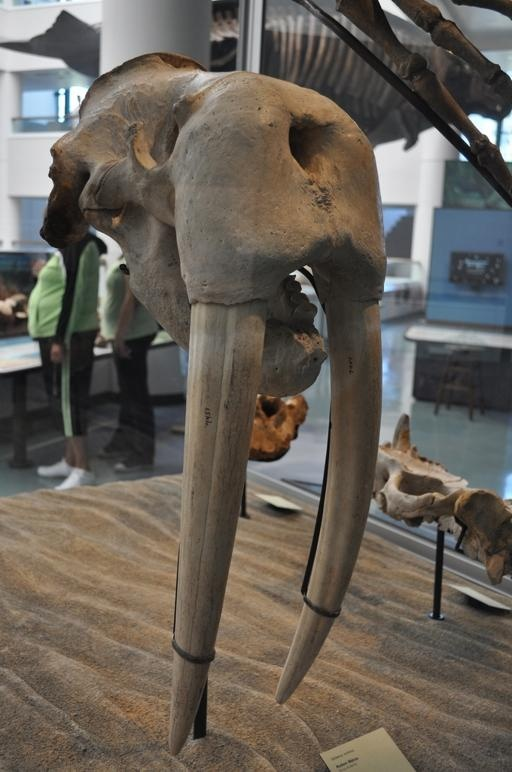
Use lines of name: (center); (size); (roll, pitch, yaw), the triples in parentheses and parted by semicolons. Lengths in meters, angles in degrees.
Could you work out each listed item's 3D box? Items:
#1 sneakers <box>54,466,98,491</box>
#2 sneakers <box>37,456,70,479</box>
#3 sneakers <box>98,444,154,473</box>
sneakers: (-0.749, 0.390, 3.060); (0.055, 0.061, 0.162); (3, 6, 39)
sneakers: (-0.831, 0.340, 3.034); (0.164, 0.068, 0.051); (4, 32, -37)
sneakers: (-0.579, 0.329, 3.310); (0.258, 0.104, 0.086); (7, 16, -47)
